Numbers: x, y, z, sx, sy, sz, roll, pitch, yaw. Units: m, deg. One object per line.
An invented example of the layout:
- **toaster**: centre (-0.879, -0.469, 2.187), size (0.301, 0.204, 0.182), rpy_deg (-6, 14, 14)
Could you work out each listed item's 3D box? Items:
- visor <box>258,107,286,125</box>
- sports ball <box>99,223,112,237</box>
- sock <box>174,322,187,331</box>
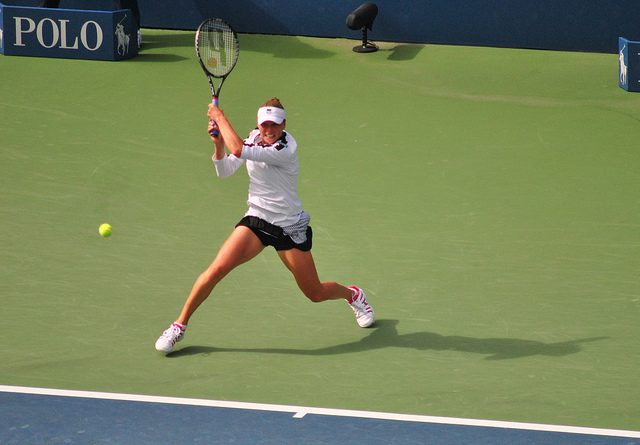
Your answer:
- **visor**: centre (-0.429, -0.951, 6.995), size (0.237, 0.158, 0.125), rpy_deg (3, 8, -9)
- **sports ball**: centre (-2.362, 0.084, 8.728), size (0.165, 0.121, 0.141), rpy_deg (1, 7, 5)
- **sock**: centre (-1.275, 0.946, 7.196), size (0.104, 0.093, 0.198), rpy_deg (5, 7, -3)
